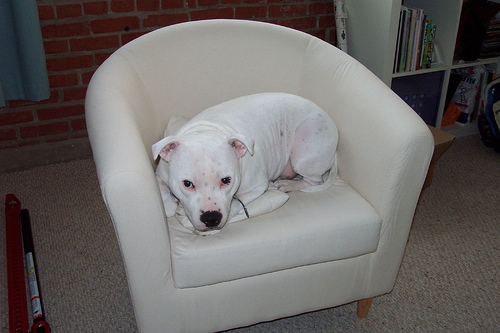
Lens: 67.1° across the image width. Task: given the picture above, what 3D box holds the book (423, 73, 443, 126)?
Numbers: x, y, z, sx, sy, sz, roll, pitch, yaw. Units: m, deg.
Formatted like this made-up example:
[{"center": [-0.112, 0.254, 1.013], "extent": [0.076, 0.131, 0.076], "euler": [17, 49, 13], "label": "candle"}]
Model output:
[{"center": [1.433, -0.532, 3.005], "extent": [0.227, 0.413, 0.032], "euler": [-14, 17, -42], "label": "book"}]

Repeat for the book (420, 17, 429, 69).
[{"center": [1.296, -0.919, 2.814], "extent": [0.055, 0.258, 0.245], "euler": [5, 18, 21], "label": "book"}]

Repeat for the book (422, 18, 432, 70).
[{"center": [1.315, -0.933, 2.815], "extent": [0.036, 0.267, 0.353], "euler": [8, 69, 19], "label": "book"}]

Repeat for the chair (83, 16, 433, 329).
[{"center": [-0.001, -0.001, 1.872], "extent": [1.366, 1.033, 1.131], "euler": [-13, 36, -15], "label": "chair"}]

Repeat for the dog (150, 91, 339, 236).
[{"center": [-0.011, -0.088, 1.947], "extent": [0.683, 0.438, 1.095], "euler": [29, 41, 28], "label": "dog"}]
